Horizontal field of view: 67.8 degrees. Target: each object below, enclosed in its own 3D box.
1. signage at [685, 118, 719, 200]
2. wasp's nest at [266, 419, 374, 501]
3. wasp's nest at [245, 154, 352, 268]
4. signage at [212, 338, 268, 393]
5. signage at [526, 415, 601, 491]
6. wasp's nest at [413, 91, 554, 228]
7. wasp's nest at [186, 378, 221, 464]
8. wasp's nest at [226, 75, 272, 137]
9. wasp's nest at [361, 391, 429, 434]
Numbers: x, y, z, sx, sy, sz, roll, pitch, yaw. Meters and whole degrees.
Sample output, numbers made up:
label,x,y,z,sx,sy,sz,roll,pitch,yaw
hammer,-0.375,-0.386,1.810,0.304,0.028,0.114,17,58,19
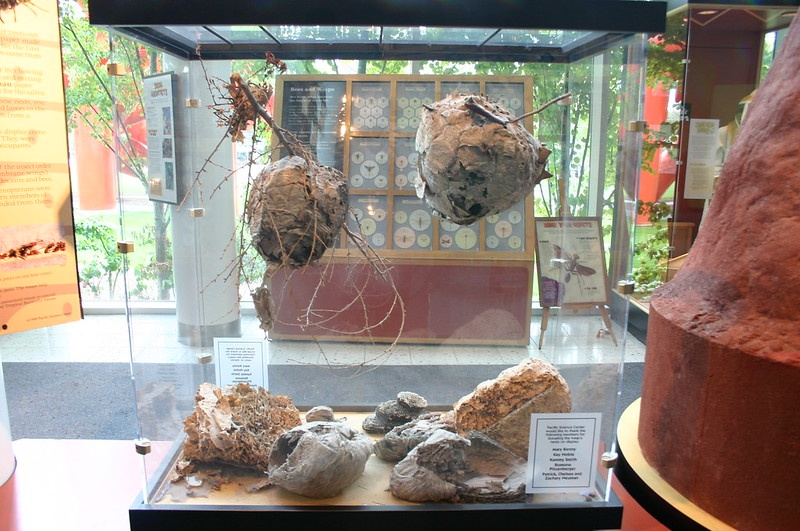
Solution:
label,x,y,z,sx,sy,sz,roll,pitch,yaw
signage,2.445,-0.857,4.818,0.263,0.641,0.085,-1,4,-6
wasp's nest,-0.350,0.820,2.522,0.310,0.221,0.370,2,-3,24
wasp's nest,-0.428,-0.224,2.525,0.459,0.462,0.399,5,4,-26
signage,-0.753,0.463,2.809,0.245,0.268,0.019,1,22,-10
signage,0.698,0.805,2.569,0.354,0.367,0.016,1,6,-6
wasp's nest,0.318,-0.418,2.536,0.488,0.480,0.548,0,3,-18
wasp's nest,-0.880,0.727,2.726,0.175,0.335,0.151,2,5,38
wasp's nest,-0.663,-0.705,2.603,0.174,0.222,0.102,17,27,-9
wasp's nest,-0.027,0.711,2.887,0.273,0.102,0.192,-16,2,1
